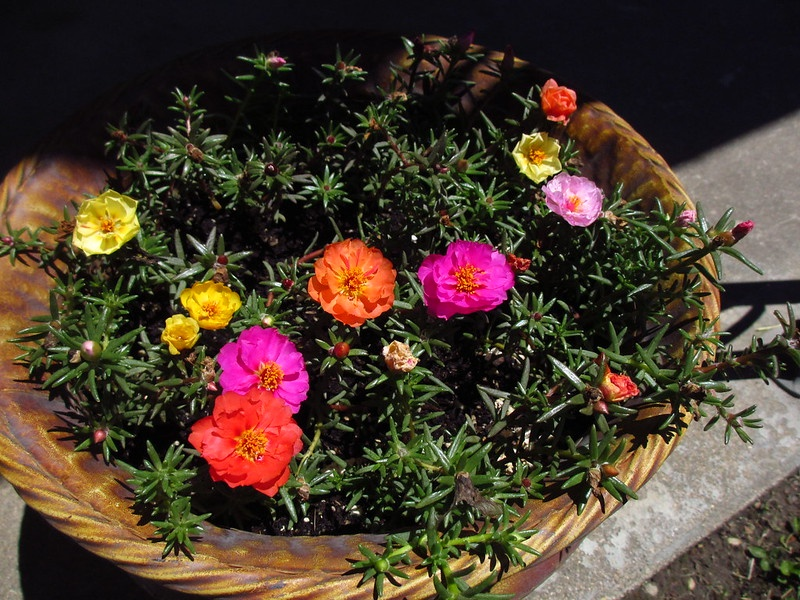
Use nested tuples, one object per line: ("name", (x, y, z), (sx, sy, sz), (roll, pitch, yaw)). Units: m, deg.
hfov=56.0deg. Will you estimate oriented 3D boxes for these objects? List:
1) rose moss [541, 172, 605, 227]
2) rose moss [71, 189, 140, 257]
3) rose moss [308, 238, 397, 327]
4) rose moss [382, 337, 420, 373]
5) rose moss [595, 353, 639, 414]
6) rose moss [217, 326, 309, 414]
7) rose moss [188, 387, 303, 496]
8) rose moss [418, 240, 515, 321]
("rose moss", (0.660, -0.372, 2.971), (0.222, 0.103, 0.202), (44, 73, 10))
("rose moss", (-1.088, -0.275, 2.848), (0.220, 0.115, 0.251), (14, 81, 6))
("rose moss", (-0.162, -0.064, 2.755), (0.302, 0.086, 0.298), (27, 82, 3))
("rose moss", (0.004, 0.217, 2.767), (0.111, 0.169, 0.121), (-34, 84, -5))
("rose moss", (0.740, 0.303, 2.655), (0.174, 0.083, 0.194), (11, 88, 9))
("rose moss", (-0.484, 0.250, 2.732), (0.367, 0.349, 0.132), (38, 118, 52))
("rose moss", (-0.528, 0.432, 2.622), (0.299, 0.328, 0.143), (-35, 111, 0))
("rose moss", (0.264, -0.061, 2.986), (0.372, 0.494, 0.270), (-12, 82, -2))
